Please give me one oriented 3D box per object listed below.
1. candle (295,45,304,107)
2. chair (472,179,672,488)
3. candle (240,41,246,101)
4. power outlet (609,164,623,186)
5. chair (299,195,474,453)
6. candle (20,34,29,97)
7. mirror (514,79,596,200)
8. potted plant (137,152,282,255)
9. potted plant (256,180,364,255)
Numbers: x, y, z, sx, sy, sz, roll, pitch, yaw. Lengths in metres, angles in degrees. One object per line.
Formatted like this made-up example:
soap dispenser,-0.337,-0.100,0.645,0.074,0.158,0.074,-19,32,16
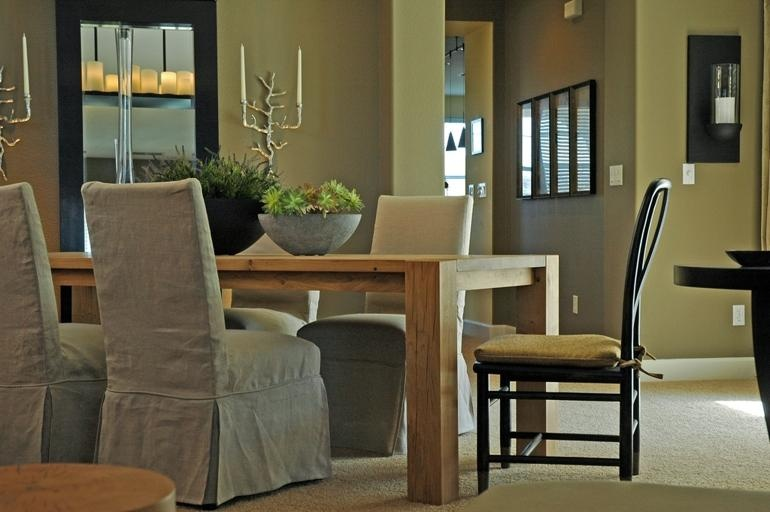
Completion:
candle,-0.600,-1.225,5.052,0.044,0.417,0.114,0,5,-6
chair,0.785,0.324,3.227,0.848,1.230,0.787,-1,-4,4
candle,-0.972,-1.240,4.999,0.040,0.402,0.105,-1,5,-13
power outlet,1.639,-0.576,5.222,0.021,0.185,0.160,2,-4,-26
chair,0.033,0.311,3.868,0.895,1.265,0.855,4,-2,-34
candle,-2.399,-1.255,4.875,0.039,0.417,0.074,-3,6,-28
mirror,1.402,-0.949,5.989,0.092,0.823,1.131,0,-2,-21
potted plant,-0.741,-0.240,3.637,0.799,0.552,0.791,-1,-5,-1
potted plant,-0.344,-0.162,3.259,0.356,0.256,0.380,-2,-8,7
